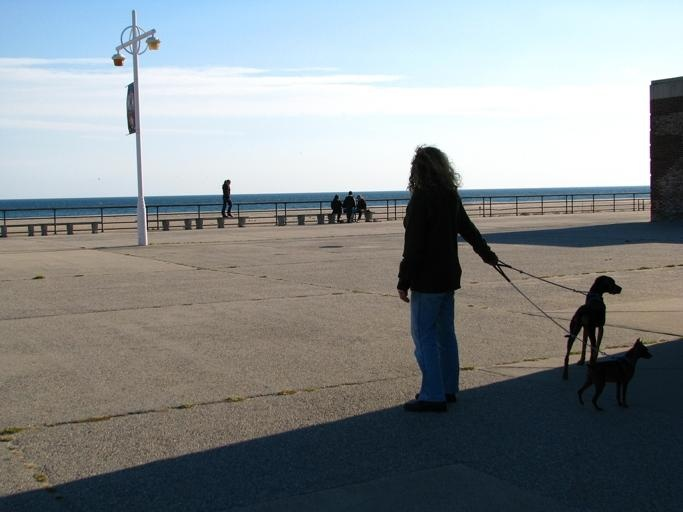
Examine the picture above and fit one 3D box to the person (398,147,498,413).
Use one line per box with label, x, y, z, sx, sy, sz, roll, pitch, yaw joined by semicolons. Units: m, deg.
person;0.851;0.175;5.666;0.510;2.322;0.829;2;7;27
